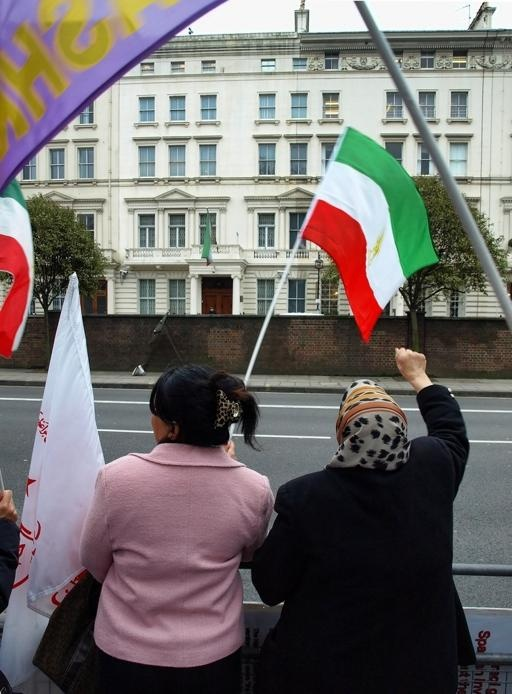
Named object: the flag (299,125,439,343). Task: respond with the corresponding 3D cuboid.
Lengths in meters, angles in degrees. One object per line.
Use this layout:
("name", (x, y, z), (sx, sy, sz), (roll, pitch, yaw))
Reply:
("flag", (0.512, -0.541, 4.120), (0.576, 0.904, 0.298), (5, 4, 15))
